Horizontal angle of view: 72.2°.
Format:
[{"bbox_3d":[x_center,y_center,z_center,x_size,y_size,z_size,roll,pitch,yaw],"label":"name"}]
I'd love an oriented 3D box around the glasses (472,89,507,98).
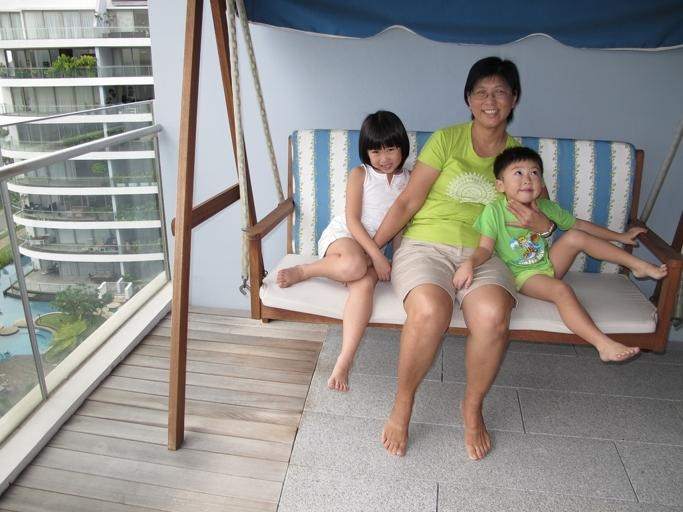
[{"bbox_3d":[0.634,-0.681,1.984,0.137,0.038,0.037,7,22,10],"label":"glasses"}]
